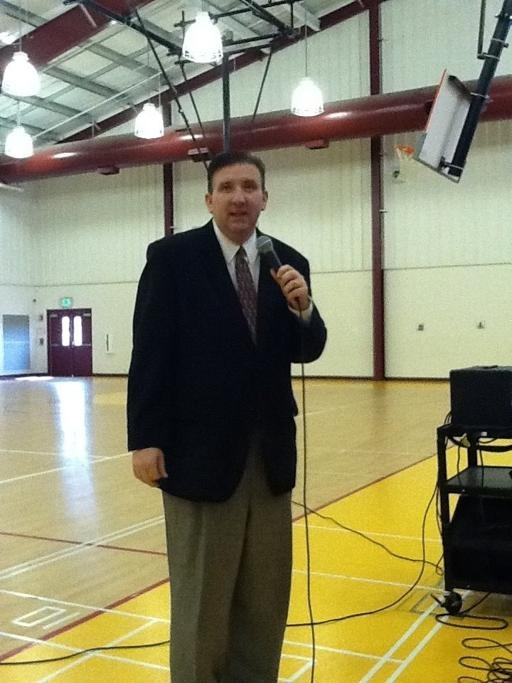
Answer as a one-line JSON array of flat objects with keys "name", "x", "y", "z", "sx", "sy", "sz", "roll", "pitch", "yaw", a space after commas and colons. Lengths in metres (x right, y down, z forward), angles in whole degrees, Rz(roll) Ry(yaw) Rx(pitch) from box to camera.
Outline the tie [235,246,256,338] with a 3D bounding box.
[{"name": "tie", "x": -0.016, "y": -0.111, "z": 1.329, "sx": 0.035, "sy": 0.198, "sz": 0.013, "roll": 3, "pitch": -38, "yaw": -11}]
